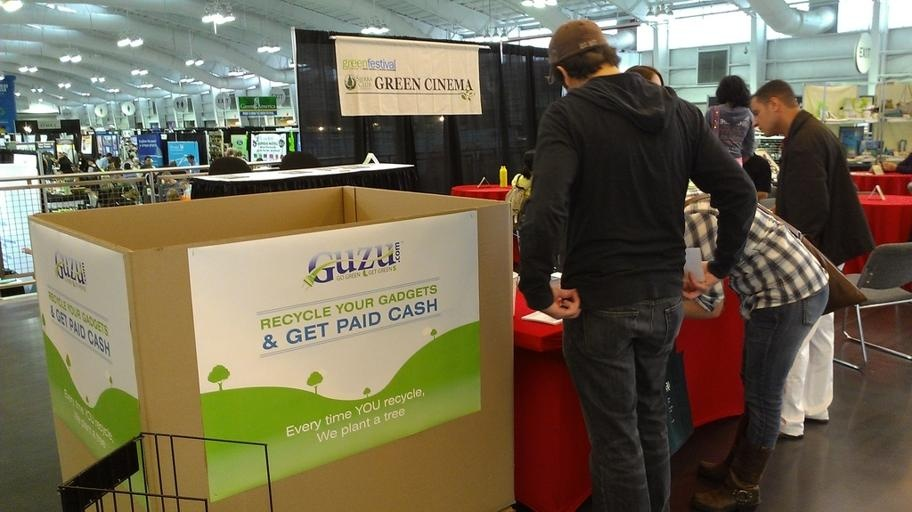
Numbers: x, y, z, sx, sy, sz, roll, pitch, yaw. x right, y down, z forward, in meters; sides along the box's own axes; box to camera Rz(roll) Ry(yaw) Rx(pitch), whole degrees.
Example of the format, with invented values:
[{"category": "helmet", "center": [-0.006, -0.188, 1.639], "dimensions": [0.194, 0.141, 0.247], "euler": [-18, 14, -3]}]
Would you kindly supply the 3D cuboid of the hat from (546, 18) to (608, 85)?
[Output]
[{"category": "hat", "center": [0.583, -1.037, 3.109], "dimensions": [0.260, 0.184, 0.350], "euler": [-19, 18, -2]}]
